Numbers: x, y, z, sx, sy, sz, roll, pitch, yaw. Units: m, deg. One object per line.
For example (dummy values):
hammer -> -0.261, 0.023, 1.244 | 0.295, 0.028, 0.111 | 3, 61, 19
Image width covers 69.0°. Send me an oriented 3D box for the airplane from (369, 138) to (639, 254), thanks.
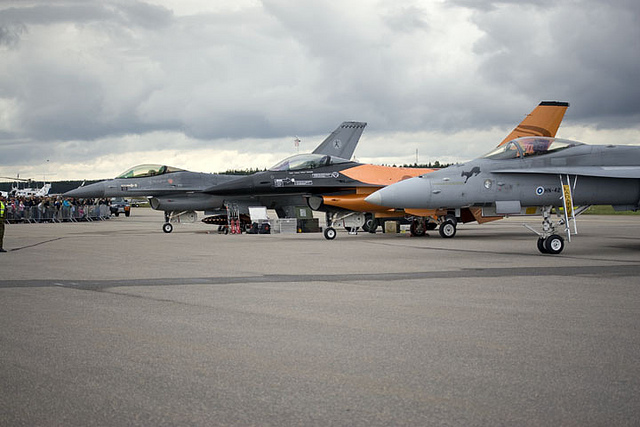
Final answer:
airplane -> 5.947, -0.837, 13.693 | 5.771, 1.697, 5.181 | 1, 0, -5
